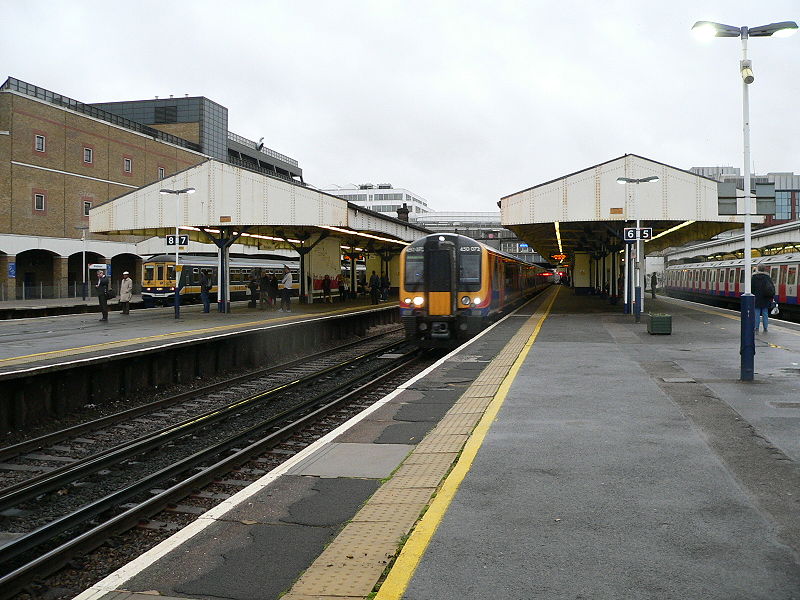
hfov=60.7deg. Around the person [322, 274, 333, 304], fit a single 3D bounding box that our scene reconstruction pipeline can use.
[{"bbox_3d":[-4.067,-0.616,38.083,0.342,1.581,2.080,-3,6,-11],"label":"person"}]
